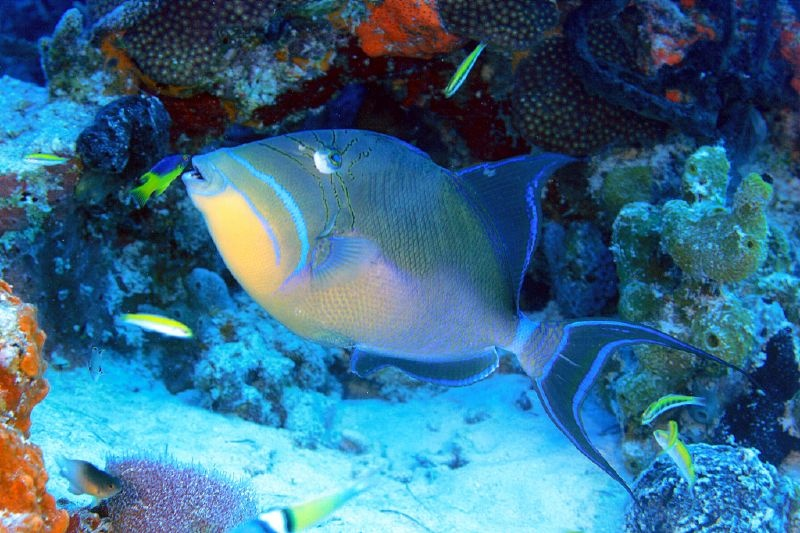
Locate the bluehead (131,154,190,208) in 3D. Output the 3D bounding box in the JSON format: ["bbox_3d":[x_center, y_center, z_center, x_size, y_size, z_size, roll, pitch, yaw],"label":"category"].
[{"bbox_3d":[-1.973,-0.770,6.709,0.384,0.505,0.543,15,26,33],"label":"bluehead"}]

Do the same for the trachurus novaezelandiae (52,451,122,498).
[{"bbox_3d":[-2.238,1.535,5.736,0.436,0.247,0.111,18,3,-11],"label":"trachurus novaezelandiae"}]

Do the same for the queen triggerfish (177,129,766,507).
[{"bbox_3d":[0.602,0.467,6.429,4.385,2.516,1.010,26,5,-11],"label":"queen triggerfish"}]

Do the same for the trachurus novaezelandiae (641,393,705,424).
[{"bbox_3d":[2.347,1.206,6.822,0.623,0.275,0.145,-14,-5,-6],"label":"trachurus novaezelandiae"}]

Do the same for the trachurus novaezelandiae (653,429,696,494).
[{"bbox_3d":[2.271,1.501,6.544,0.324,0.536,0.289,-24,24,-30],"label":"trachurus novaezelandiae"}]
